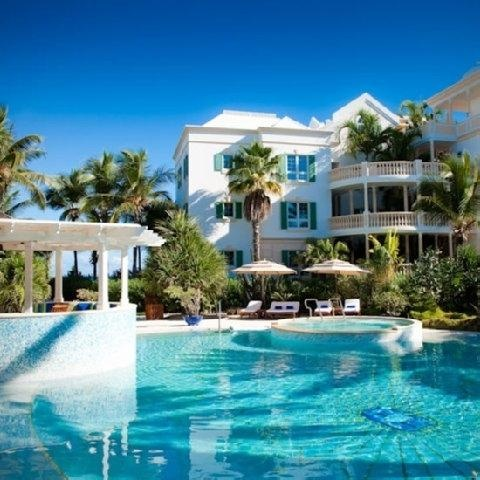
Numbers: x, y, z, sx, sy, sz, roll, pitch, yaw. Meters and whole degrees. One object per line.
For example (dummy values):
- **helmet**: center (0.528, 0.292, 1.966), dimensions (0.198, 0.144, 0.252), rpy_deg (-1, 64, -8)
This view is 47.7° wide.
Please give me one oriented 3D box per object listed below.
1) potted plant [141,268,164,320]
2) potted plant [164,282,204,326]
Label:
- **potted plant**: center (-4.005, 2.468, 25.074), dimensions (0.844, 2.244, 2.765), rpy_deg (-1, 2, -10)
- **potted plant**: center (-2.051, 2.630, 22.526), dimensions (1.595, 1.985, 1.362), rpy_deg (0, -3, -38)
